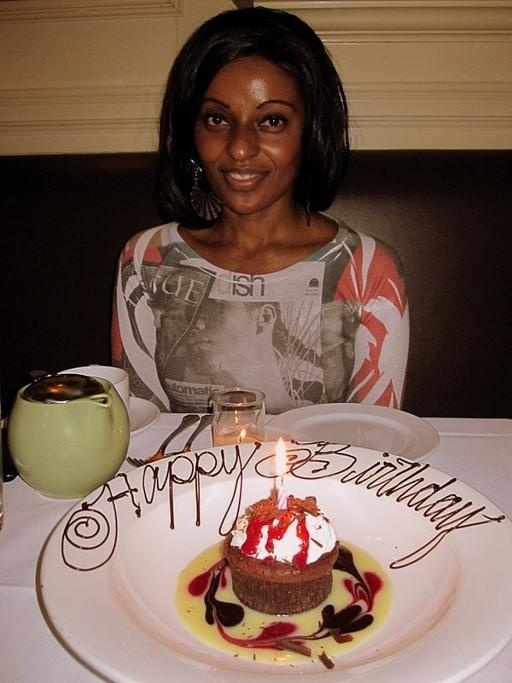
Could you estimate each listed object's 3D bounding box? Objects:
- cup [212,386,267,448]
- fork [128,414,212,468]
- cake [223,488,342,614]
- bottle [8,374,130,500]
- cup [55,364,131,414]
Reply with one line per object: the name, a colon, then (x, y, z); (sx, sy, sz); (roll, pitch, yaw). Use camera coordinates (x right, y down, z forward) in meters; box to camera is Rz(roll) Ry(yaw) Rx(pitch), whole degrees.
cup: (-0.036, 0.134, 1.176); (0.099, 0.094, 0.096); (2, -14, 1)
fork: (-0.140, 0.173, 1.173); (0.052, 0.023, 0.174); (0, 14, 15)
cake: (0.046, 0.284, 0.871); (0.150, 0.119, 0.143); (-2, 7, -4)
bottle: (-0.274, 0.139, 0.992); (0.201, 0.137, 0.148); (3, 10, 31)
cup: (-0.279, 0.071, 1.127); (0.091, 0.078, 0.114); (1, 14, -1)
